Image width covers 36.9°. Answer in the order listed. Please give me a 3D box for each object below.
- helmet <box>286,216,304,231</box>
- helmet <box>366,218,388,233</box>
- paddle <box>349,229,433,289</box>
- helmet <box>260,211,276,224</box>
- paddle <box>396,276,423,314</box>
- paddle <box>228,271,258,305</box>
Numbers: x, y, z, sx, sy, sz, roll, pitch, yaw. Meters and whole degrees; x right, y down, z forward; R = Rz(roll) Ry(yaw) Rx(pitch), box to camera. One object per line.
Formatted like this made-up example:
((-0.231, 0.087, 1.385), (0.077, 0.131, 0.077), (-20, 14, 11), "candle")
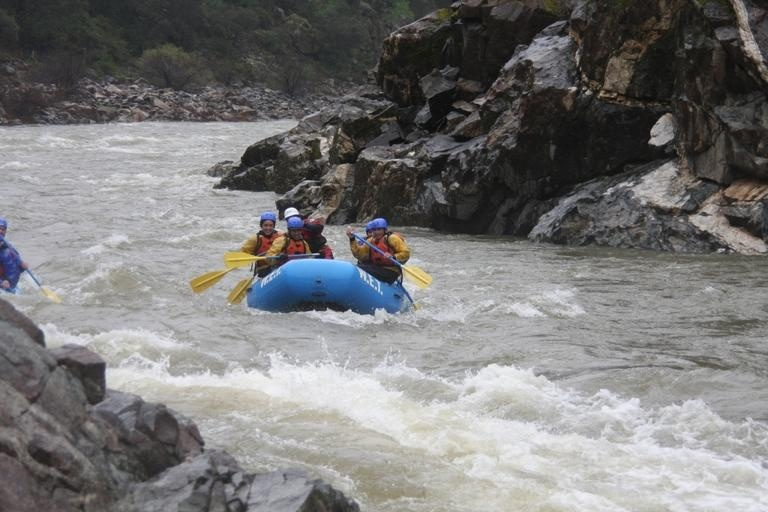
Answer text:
((-2.071, -0.755, 26.831), (0.402, 0.309, 0.302), (9, 8, -8), "helmet")
((-0.149, -0.717, 27.058), (0.361, 0.324, 0.482), (-19, -30, 40), "helmet")
((0.102, 0.125, 27.456), (3.030, 0.379, 0.257), (29, 2, 23), "paddle")
((-2.800, -0.983, 27.633), (0.451, 0.250, 0.579), (3, -9, -10), "helmet")
((0.525, 0.890, 26.850), (1.062, 0.292, 0.080), (48, 4, 34), "paddle")
((-3.276, 0.736, 26.787), (0.349, 0.946, 0.141), (45, 3, -12), "paddle")
